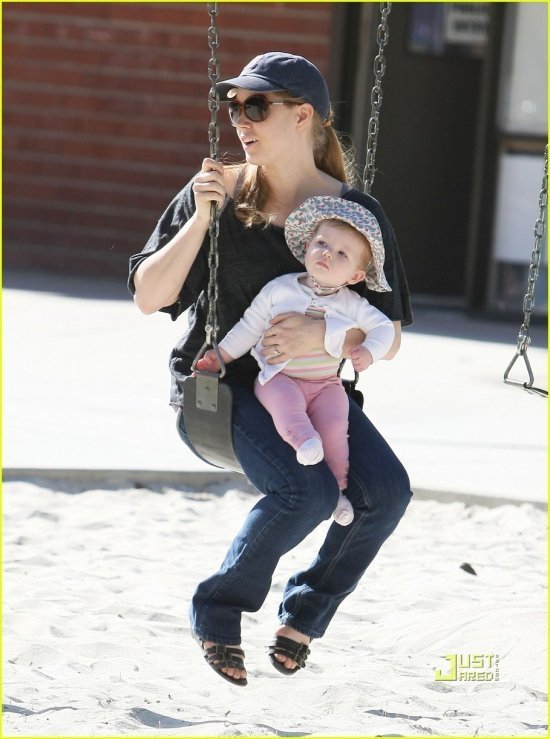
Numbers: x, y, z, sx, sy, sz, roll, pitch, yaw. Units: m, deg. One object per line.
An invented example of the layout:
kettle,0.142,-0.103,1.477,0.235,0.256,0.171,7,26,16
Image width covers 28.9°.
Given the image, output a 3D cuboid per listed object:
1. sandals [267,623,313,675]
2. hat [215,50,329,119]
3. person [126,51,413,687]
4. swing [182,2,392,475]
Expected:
sandals,0.036,0.722,2.727,0.129,0.107,0.154,0,2,-19
hat,0.017,-0.769,2.864,0.294,0.110,0.191,5,-5,-2
person,0.051,-0.076,2.913,0.752,1.659,0.677,6,7,44
swing,0.001,-0.264,2.948,0.752,1.453,0.490,2,14,8
